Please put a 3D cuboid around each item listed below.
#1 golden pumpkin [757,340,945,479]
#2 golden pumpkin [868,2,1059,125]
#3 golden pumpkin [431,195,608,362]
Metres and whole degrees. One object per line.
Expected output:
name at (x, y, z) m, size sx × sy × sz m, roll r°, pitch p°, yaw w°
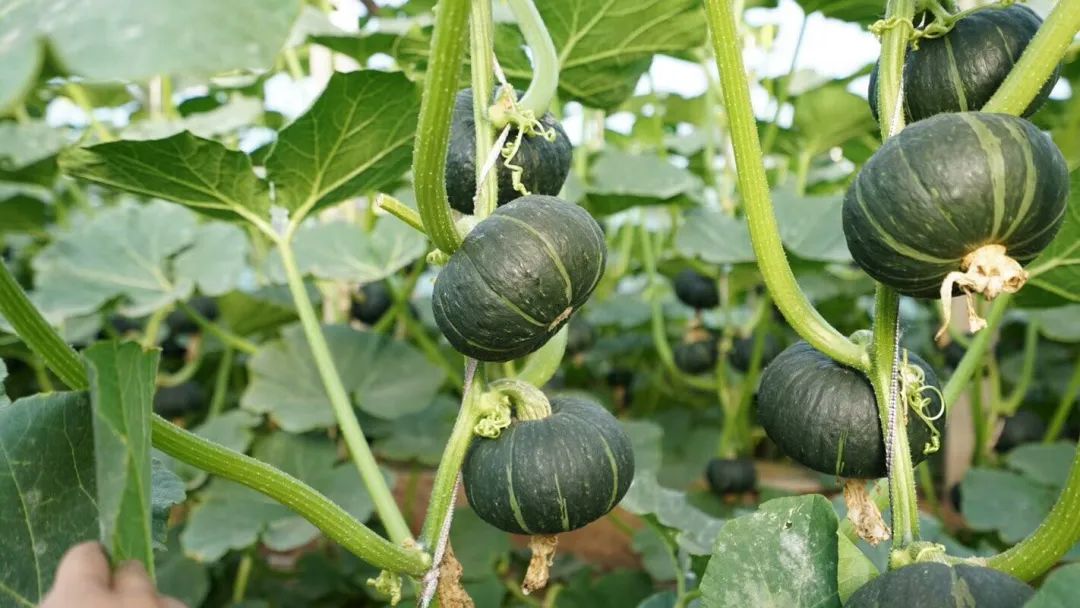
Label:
golden pumpkin at (0.786, 0.256, 2.988) m, size 0.373 × 0.341 × 0.364 m, roll 0°, pitch 6°, yaw -23°
golden pumpkin at (1.104, -0.637, 2.950) m, size 0.245 × 0.181 × 0.384 m, roll 29°, pitch 64°, yaw 26°
golden pumpkin at (-0.053, -0.070, 2.889) m, size 0.468 × 0.247 × 0.279 m, roll -36°, pitch 57°, yaw -15°
